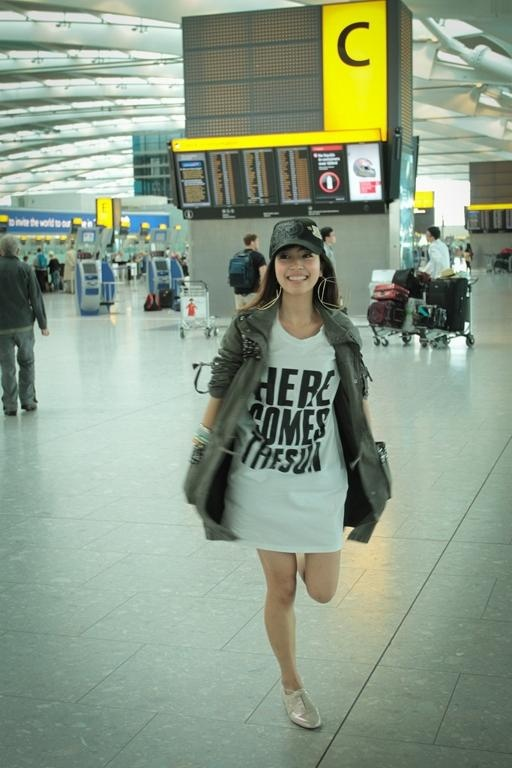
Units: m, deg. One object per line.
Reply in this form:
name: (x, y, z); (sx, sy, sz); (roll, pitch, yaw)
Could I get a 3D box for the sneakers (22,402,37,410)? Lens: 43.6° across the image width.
sneakers: (-2.567, 0.245, 7.300); (0.142, 0.092, 0.081); (-3, 7, -40)

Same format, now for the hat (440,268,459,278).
hat: (3.417, -1.961, 11.336); (0.278, 0.100, 0.309); (-14, 9, 29)

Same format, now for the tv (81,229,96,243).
tv: (-5.661, -5.082, 21.866); (0.515, 0.503, 0.374); (0, -5, 0)

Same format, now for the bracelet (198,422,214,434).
bracelet: (-0.134, 0.119, 1.717); (0.026, 0.026, 0.031); (13, 30, -10)

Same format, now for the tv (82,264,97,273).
tv: (-5.079, -3.574, 19.730); (0.142, 0.338, 0.553); (4, 5, 40)

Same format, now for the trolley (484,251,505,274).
trolley: (15.718, -7.944, 41.813); (1.117, 1.548, 3.893); (2, 4, 19)

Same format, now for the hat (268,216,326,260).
hat: (0.114, -0.403, 1.749); (0.143, 0.127, 0.203); (0, 4, 2)

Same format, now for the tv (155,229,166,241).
tv: (-4.370, -6.855, 29.491); (0.637, 0.570, 0.300); (1, -9, -1)

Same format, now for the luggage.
luggage: (2.917, -1.603, 11.347); (1.749, 1.204, 1.155); (4, -2, 13)

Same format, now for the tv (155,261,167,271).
tv: (-3.229, -4.043, 21.783); (0.359, 0.315, 0.110); (0, -4, -28)

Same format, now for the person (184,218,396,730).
person: (0.126, 0.213, 1.770); (0.598, 1.337, 0.326); (-2, 5, -30)
